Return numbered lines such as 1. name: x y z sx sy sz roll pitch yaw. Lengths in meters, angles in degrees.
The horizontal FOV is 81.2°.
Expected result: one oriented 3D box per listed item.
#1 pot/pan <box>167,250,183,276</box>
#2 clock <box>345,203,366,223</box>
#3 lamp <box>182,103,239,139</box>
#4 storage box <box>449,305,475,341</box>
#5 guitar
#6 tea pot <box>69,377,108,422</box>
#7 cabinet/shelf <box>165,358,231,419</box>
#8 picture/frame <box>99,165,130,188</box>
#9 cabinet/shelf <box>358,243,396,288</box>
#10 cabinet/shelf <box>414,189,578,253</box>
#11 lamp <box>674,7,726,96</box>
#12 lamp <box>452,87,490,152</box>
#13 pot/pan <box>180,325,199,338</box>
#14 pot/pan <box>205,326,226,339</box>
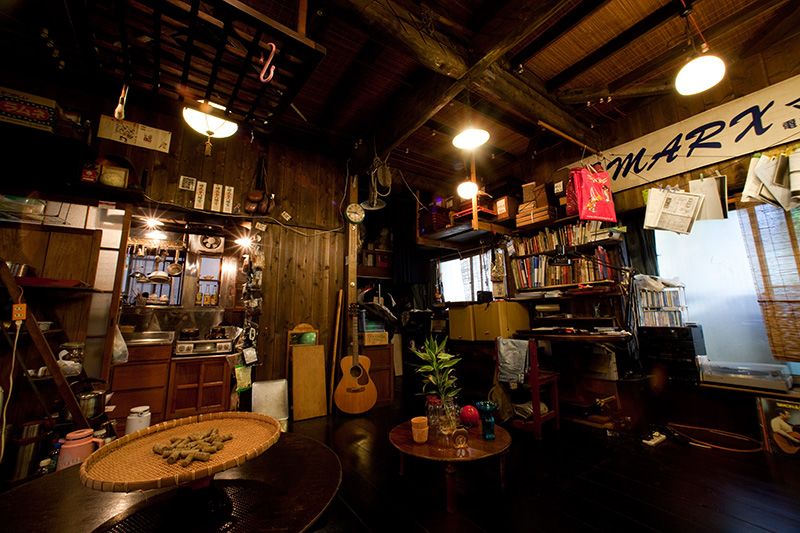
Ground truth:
1. pot/pan: -3.635 -0.053 7.532 0.241 0.395 0.223 -9 17 -25
2. clock: -0.797 -0.935 8.141 0.328 0.309 0.301 -10 18 -28
3. lamp: -2.438 -1.818 6.101 0.567 0.391 0.573 -7 -23 -1
4. storage box: 1.064 0.958 7.934 0.336 0.630 0.589 3 2 -32
5. guitar: -0.683 1.531 7.382 0.603 1.451 0.856 1 15 10
6. tea pot: -3.888 1.640 5.812 0.350 0.522 0.538 3 -11 -44
7. cabinet/shelf: -2.908 1.712 6.592 0.770 0.742 0.293 6 -16 -27
8. picture/frame: -3.919 -1.221 6.358 0.322 0.318 0.084 0 -1 -35
9. cabinet/shelf: -0.497 -0.035 9.621 0.777 0.564 0.743 1 -7 -21
10. cabinet/shelf: 1.203 -0.701 8.720 1.086 0.697 1.519 10 -16 -30
11. lamp: 3.871 -2.780 5.982 0.542 1.069 1.124 8 18 30
12. lamp: 1.060 -2.255 7.026 0.627 1.135 0.664 1 -23 0
13. pot/pan: -3.222 0.994 7.135 0.223 0.173 0.235 1 -5 3
14. pot/pan: -2.883 1.028 7.299 0.241 0.135 0.292 -5 16 -13
